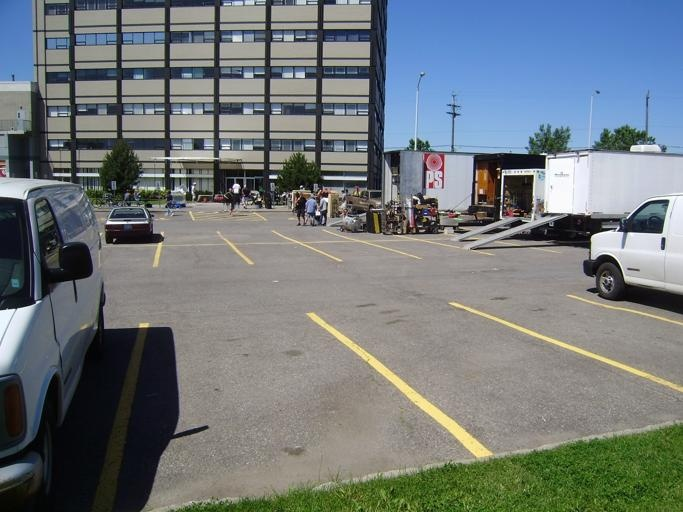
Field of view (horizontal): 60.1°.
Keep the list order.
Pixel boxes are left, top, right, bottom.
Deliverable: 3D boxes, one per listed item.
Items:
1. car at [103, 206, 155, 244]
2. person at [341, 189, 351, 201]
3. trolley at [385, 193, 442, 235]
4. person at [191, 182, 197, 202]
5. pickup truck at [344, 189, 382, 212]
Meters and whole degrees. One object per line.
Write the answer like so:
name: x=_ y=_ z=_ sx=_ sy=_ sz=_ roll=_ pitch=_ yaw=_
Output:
car: x=-8.222 y=-1.280 z=22.765 sx=1.027 sy=0.899 sz=2.486 roll=-2 pitch=9 yaw=-9
person: x=0.213 y=-4.562 z=42.314 sx=0.671 sy=0.881 sz=1.663 roll=1 pitch=22 yaw=5
trolley: x=2.981 y=-2.051 z=27.174 sx=1.477 sy=1.405 sz=2.164 roll=-2 pitch=10 yaw=-18
person: x=-15.189 y=-6.751 z=60.942 sx=0.486 sy=1.552 sz=3.132 roll=-1 pitch=8 yaw=-14
pickup truck: x=1.366 y=-3.584 z=36.038 sx=1.403 sy=1.320 sz=2.717 roll=-4 pitch=6 yaw=-30
